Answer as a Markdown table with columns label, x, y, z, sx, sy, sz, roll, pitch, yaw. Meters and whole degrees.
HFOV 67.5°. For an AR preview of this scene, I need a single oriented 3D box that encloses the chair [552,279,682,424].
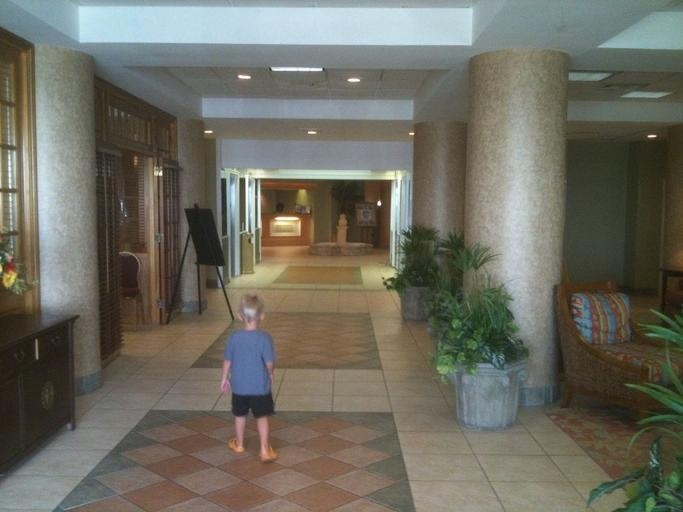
| label | x | y | z | sx | sy | sz | roll | pitch | yaw |
| --- | --- | --- | --- | --- | --- | --- | --- | --- | --- |
| chair | 2.538 | 0.850 | 4.596 | 0.927 | 1.129 | 1.070 | -3 | 9 | -25 |

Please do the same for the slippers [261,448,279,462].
| label | x | y | z | sx | sy | sz | roll | pitch | yaw |
| --- | --- | --- | --- | --- | --- | --- | --- | --- | --- |
| slippers | -0.522 | 1.441 | 3.757 | 0.070 | 0.118 | 0.129 | 3 | 8 | 10 |

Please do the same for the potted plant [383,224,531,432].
| label | x | y | z | sx | sy | sz | roll | pitch | yaw |
| --- | --- | --- | --- | --- | --- | --- | --- | --- | --- |
| potted plant | 1.025 | 0.708 | 5.049 | 1.145 | 1.530 | 1.872 | -2 | 2 | -8 |

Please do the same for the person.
| label | x | y | z | sx | sy | sz | roll | pitch | yaw |
| --- | --- | --- | --- | --- | --- | --- | --- | --- | --- |
| person | -0.681 | 0.872 | 3.737 | 0.384 | 1.212 | 0.379 | -1 | 8 | -12 |

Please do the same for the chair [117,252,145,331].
| label | x | y | z | sx | sy | sz | roll | pitch | yaw |
| --- | --- | --- | --- | --- | --- | --- | --- | --- | --- |
| chair | -2.981 | 0.480 | 7.300 | 0.282 | 1.064 | 0.472 | -3 | 9 | -20 |
